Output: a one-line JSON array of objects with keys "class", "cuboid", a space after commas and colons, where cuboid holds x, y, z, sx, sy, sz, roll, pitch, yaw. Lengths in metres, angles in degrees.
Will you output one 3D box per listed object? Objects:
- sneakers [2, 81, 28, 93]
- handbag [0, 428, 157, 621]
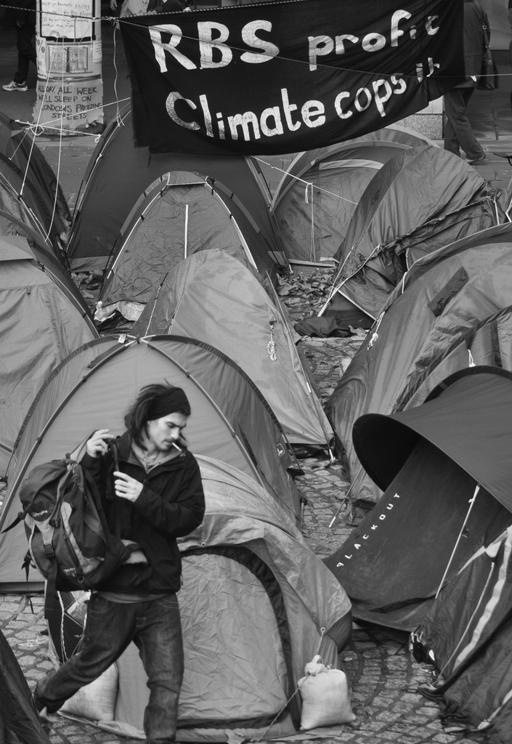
[{"class": "sneakers", "cuboid": [-4.983, -5.949, 15.960, 0.566, 0.255, 0.224, 5, 11, -3]}, {"class": "handbag", "cuboid": [-0.526, 0.468, 2.393, 0.430, 0.492, 0.378, -1, -15, -36]}]
